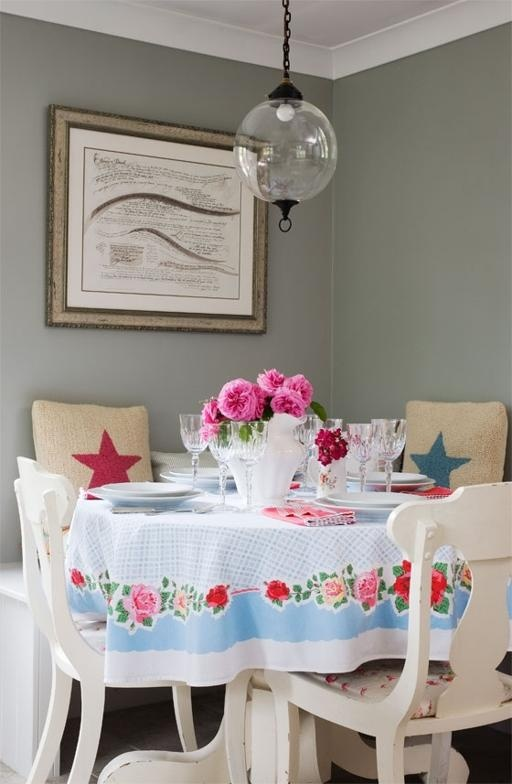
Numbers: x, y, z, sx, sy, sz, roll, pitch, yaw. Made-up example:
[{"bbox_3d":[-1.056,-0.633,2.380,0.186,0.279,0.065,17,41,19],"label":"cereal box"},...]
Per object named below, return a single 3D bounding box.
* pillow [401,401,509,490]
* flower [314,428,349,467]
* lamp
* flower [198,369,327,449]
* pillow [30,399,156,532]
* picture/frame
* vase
[{"bbox_3d":[0.757,0.206,2.542,0.112,0.301,0.277,21,-18,-39],"label":"pillow"},{"bbox_3d":[0.168,0.124,1.582,0.073,0.082,0.079,-17,-4,16],"label":"flower"},{"bbox_3d":[0.077,-0.663,1.866,0.278,0.360,0.151,-2,9,6],"label":"lamp"},{"bbox_3d":[-0.005,0.032,1.549,0.243,0.161,0.362,1,10,22],"label":"flower"},{"bbox_3d":[-0.521,0.217,2.119,0.377,0.398,0.142,6,-29,-33],"label":"pillow"},{"bbox_3d":[-0.468,-0.741,2.912,1.030,0.927,0.039,3,-6,-34],"label":"picture/frame"},{"bbox_3d":[0.051,0.146,1.518,0.179,0.205,0.181,1,-2,9],"label":"vase"}]
